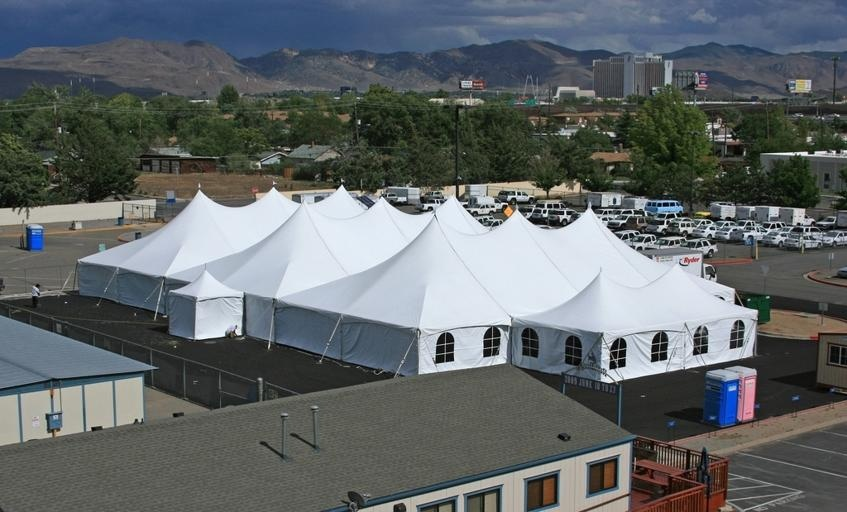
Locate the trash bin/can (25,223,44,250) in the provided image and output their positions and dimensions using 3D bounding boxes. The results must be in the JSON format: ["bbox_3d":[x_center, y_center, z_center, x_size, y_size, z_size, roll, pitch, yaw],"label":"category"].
[{"bbox_3d":[-41.020,-2.147,158.582,1.858,2.528,2.804,-2,6,-12],"label":"trash bin/can"}]

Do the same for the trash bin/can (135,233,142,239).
[{"bbox_3d":[-28.652,-2.146,150.843,0.443,0.854,0.951,-1,1,23],"label":"trash bin/can"}]

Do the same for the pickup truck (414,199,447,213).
[{"bbox_3d":[1.456,-6.130,184.768,3.622,1.184,1.705,-11,16,-32],"label":"pickup truck"}]

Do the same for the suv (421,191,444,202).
[{"bbox_3d":[1.411,-7.138,188.580,2.523,1.135,1.574,-12,18,-35],"label":"suv"}]

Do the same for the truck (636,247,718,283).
[{"bbox_3d":[23.826,1.714,138.469,6.834,3.586,3.250,0,-10,-20],"label":"truck"}]

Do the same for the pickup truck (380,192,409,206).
[{"bbox_3d":[-3.755,-7.408,194.637,3.457,1.558,2.301,1,4,-13],"label":"pickup truck"}]
